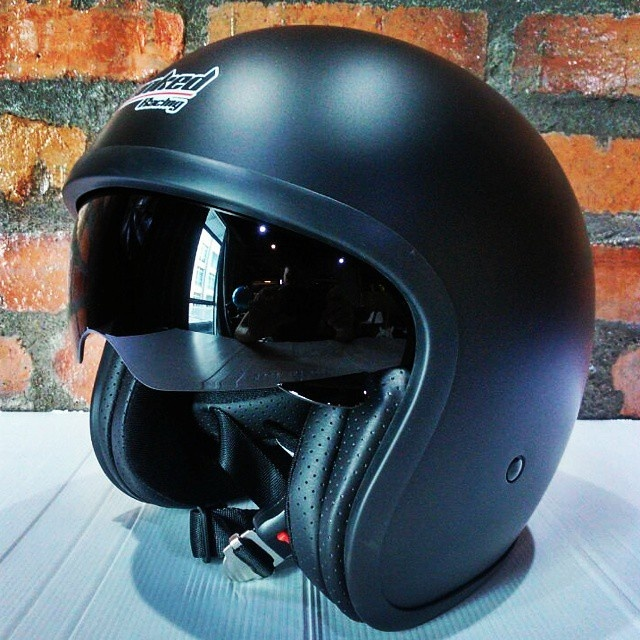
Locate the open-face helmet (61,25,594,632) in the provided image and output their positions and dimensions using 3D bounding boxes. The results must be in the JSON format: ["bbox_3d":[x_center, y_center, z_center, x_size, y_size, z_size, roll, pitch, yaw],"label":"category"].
[{"bbox_3d":[0.028,-0.003,0.746,0.588,0.525,0.465,1,3,-33],"label":"open-face helmet"}]
